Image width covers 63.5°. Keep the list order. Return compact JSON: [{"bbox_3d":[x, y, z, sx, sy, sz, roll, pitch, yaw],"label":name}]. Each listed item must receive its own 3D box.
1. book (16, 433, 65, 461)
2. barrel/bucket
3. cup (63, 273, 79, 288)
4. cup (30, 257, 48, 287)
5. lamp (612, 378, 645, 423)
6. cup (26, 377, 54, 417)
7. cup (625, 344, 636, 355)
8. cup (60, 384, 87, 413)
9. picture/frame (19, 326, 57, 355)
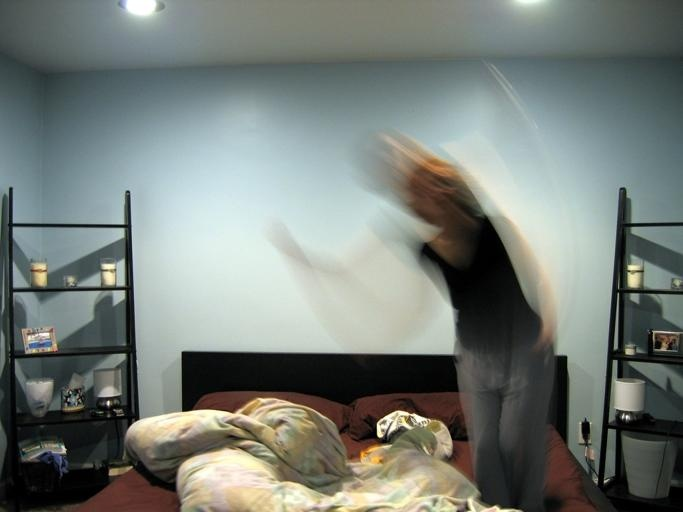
[{"bbox_3d":[-1.119,0.714,2.066,0.090,0.035,0.095,3,-3,15],"label":"book"},{"bbox_3d":[0.940,0.637,1.723,0.161,0.192,0.175,3,-12,1],"label":"barrel/bucket"},{"bbox_3d":[-1.029,0.093,2.118,0.053,0.060,0.056,0,-6,0],"label":"cup"},{"bbox_3d":[-1.130,0.066,2.079,0.050,0.108,0.096,-3,-2,-31],"label":"cup"},{"bbox_3d":[0.924,0.452,1.775,0.092,0.153,0.151,-5,-2,27],"label":"lamp"},{"bbox_3d":[-1.100,0.511,2.031,0.111,0.143,0.122,0,-6,-5],"label":"cup"},{"bbox_3d":[0.937,0.304,1.808,0.043,0.045,0.028,-1,-1,23],"label":"cup"},{"bbox_3d":[-0.997,0.530,2.075,0.081,0.085,0.085,0,-1,0],"label":"cup"},{"bbox_3d":[-1.130,0.319,2.075,0.092,0.091,0.010,-1,-26,-39],"label":"picture/frame"}]
